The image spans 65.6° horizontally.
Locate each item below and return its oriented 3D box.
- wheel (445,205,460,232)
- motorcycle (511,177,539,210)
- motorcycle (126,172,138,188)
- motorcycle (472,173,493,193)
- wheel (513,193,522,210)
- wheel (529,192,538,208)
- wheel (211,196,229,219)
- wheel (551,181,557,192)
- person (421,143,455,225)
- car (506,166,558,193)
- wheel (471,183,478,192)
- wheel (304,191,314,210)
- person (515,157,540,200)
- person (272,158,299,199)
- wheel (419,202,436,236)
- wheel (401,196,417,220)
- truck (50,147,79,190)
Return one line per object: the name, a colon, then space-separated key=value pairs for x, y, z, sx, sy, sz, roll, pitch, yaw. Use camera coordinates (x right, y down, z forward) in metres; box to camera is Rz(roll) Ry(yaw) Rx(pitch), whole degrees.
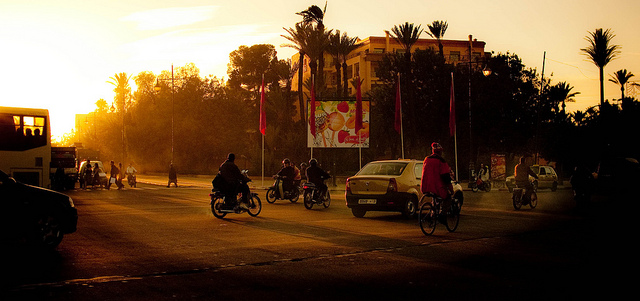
wheel: x=6.094 y=3.170 z=23.003 sx=1.070 sy=1.200 sz=0.280 roll=-11 pitch=17 yaw=-44
motorcycle: x=12.327 y=2.869 z=29.634 sx=1.873 sy=1.078 sz=0.852 roll=-5 pitch=21 yaw=-19
motorcycle: x=-18.747 y=2.922 z=49.778 sx=0.672 sy=1.304 sz=0.971 roll=-6 pitch=13 yaw=-25
motorcycle: x=14.248 y=2.917 z=43.915 sx=1.026 sy=1.580 sz=2.559 roll=12 pitch=16 yaw=43
wheel: x=11.690 y=2.976 z=29.460 sx=0.401 sy=0.771 sz=0.823 roll=8 pitch=-21 yaw=30
wheel: x=12.890 y=2.996 z=30.125 sx=1.038 sy=0.940 sz=0.283 roll=-10 pitch=9 yaw=-38
wheel: x=-5.235 y=2.943 z=26.188 sx=1.330 sy=1.234 sz=0.352 roll=0 pitch=4 yaw=-29
wheel: x=21.706 y=3.341 z=46.209 sx=0.414 sy=0.909 sz=1.356 roll=5 pitch=12 yaw=23
person: x=5.335 y=1.622 z=22.620 sx=1.393 sy=3.709 sz=1.053 roll=3 pitch=13 yaw=14
car: x=16.594 y=2.283 z=38.550 sx=4.251 sy=1.828 sz=2.322 roll=3 pitch=-5 yaw=-20
wheel: x=13.646 y=3.261 z=43.751 sx=0.866 sy=0.762 sz=0.242 roll=3 pitch=-2 yaw=6
wheel: x=-0.663 y=2.954 z=29.943 sx=0.465 sy=1.001 sz=0.353 roll=1 pitch=13 yaw=2
person: x=12.159 y=1.613 z=29.414 sx=1.136 sy=2.527 sz=0.864 roll=4 pitch=13 yaw=16
person: x=-2.131 y=1.888 z=32.479 sx=1.150 sy=2.752 sz=0.557 roll=-2 pitch=13 yaw=-7
wheel: x=4.841 y=3.075 z=22.463 sx=0.775 sy=1.451 sz=0.447 roll=-11 pitch=16 yaw=-40
wheel: x=4.763 y=2.974 z=26.118 sx=1.001 sy=1.227 sz=0.420 roll=-11 pitch=16 yaw=-42
truck: x=-23.653 y=1.636 z=45.965 sx=3.922 sy=3.458 sz=6.100 roll=0 pitch=5 yaw=-22
